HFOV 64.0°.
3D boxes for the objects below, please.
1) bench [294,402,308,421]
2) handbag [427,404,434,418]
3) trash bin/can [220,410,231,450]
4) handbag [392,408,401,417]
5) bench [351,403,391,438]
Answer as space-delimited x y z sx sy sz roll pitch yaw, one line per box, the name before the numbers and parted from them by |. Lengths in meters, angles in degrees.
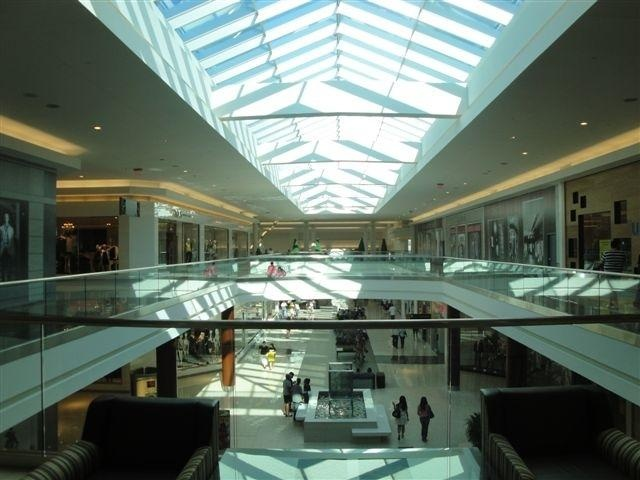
bench | -0.146 1.262 3.766 0.109 0.145 0.031 0 2 18
handbag | 0.822 1.268 3.797 0.057 0.073 0.024 -3 6 41
trash bin/can | -0.720 1.434 3.883 0.086 0.277 0.079 -1 2 -9
handbag | 0.558 1.253 3.736 0.066 0.063 0.057 -5 -26 25
bench | 0.367 1.345 3.730 0.237 0.099 0.334 -3 25 1
